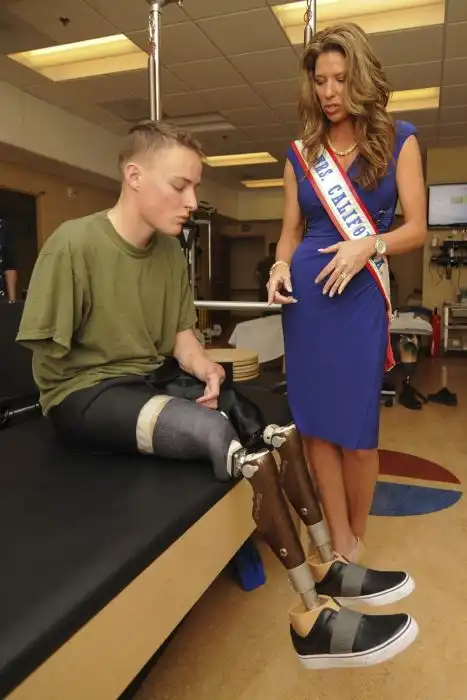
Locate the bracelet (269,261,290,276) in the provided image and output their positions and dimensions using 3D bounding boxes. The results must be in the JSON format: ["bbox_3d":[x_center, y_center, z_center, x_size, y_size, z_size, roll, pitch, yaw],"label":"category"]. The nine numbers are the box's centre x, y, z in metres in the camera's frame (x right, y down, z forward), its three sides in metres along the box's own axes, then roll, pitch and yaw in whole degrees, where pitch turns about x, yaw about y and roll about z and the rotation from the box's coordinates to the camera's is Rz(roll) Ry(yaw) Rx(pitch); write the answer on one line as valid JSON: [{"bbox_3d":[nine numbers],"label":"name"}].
[{"bbox_3d":[0.126,-0.229,1.382,0.052,0.018,0.040,-23,27,-37],"label":"bracelet"}]

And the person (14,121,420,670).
[{"bbox_3d":[-0.053,0.103,1.710,1.269,1.535,0.802,0,-1,15],"label":"person"}]

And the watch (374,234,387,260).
[{"bbox_3d":[0.343,-0.241,1.190,0.035,0.055,0.056,-2,11,1],"label":"watch"}]

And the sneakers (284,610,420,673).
[{"bbox_3d":[0.221,0.521,0.953,0.224,0.093,0.105,-11,19,19],"label":"sneakers"}]

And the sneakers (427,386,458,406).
[{"bbox_3d":[1.728,0.377,4.208,0.221,0.098,0.347,0,4,12],"label":"sneakers"}]

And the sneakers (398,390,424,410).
[{"bbox_3d":[1.448,0.396,4.124,0.103,0.116,0.274,-4,5,-12],"label":"sneakers"}]

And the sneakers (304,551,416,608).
[{"bbox_3d":[0.282,0.513,1.181,0.276,0.104,0.102,-4,19,27],"label":"sneakers"}]

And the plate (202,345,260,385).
[{"bbox_3d":[-0.001,0.054,2.190,0.165,0.051,0.160,-9,12,-36],"label":"plate"}]
